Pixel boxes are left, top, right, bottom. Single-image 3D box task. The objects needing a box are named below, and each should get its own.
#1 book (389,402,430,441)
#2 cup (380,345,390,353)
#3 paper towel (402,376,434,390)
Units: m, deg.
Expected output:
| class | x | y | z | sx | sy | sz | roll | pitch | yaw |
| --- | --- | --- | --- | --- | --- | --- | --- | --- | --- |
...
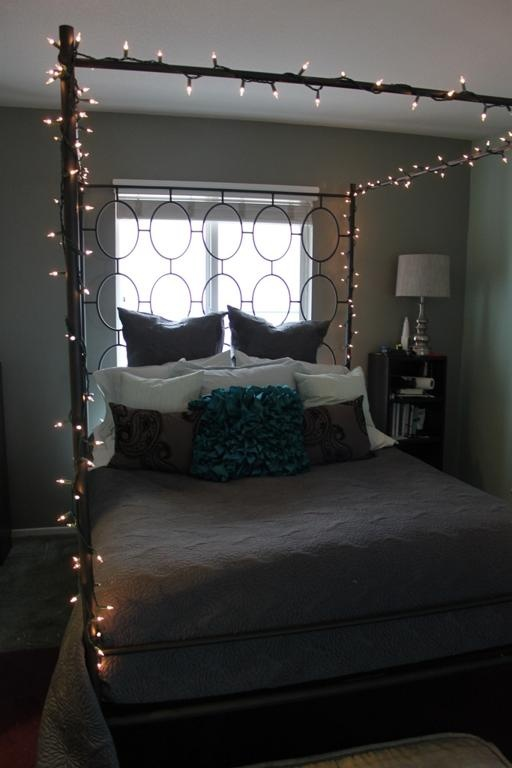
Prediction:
| class | x | y | z | sx | sy | sz | roll | pitch | yaw |
| --- | --- | --- | --- | --- | --- | --- | --- | --- | --- |
| book | 0.915 | 0.225 | 3.667 | 0.207 | 0.200 | 0.111 | -4 | 10 | -34 |
| cup | 0.782 | -0.211 | 3.687 | 0.056 | 0.038 | 0.057 | 1 | 7 | 0 |
| paper towel | 0.974 | -0.018 | 3.612 | 0.122 | 0.045 | 0.092 | -1 | 7 | -30 |
